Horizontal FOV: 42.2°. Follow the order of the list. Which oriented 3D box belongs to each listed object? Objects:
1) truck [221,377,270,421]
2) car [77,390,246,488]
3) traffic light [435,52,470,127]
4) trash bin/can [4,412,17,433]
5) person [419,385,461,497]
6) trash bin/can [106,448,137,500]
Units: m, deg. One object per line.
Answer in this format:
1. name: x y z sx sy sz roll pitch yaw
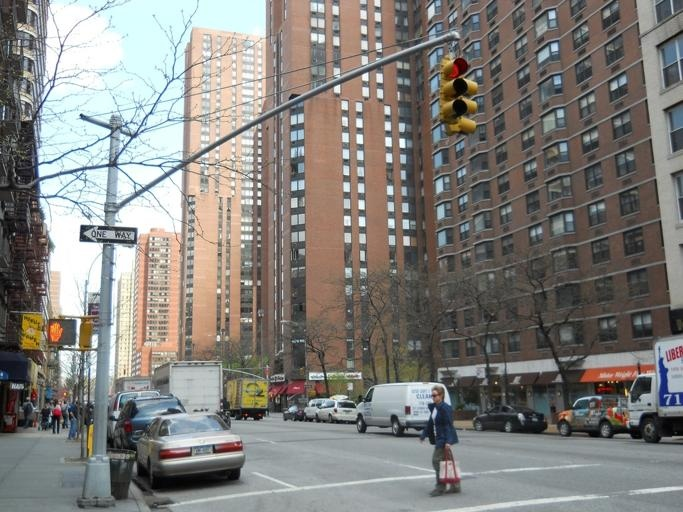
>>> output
1. truck: -7.989 12.250 74.849 2.460 3.441 7.331 2 -6 -15
2. car: -5.698 7.058 32.279 2.602 2.235 6.434 2 -7 -22
3. traffic light: 3.643 -5.106 27.762 1.286 2.460 0.762 9 -12 -38
4. trash bin/can: -19.391 9.775 51.803 0.663 1.082 0.534 0 -14 -9
5. person: 3.286 6.211 29.913 1.174 3.637 1.083 -2 -4 29
6. trash bin/can: -7.484 7.461 30.147 0.840 1.698 0.642 2 -14 -16
